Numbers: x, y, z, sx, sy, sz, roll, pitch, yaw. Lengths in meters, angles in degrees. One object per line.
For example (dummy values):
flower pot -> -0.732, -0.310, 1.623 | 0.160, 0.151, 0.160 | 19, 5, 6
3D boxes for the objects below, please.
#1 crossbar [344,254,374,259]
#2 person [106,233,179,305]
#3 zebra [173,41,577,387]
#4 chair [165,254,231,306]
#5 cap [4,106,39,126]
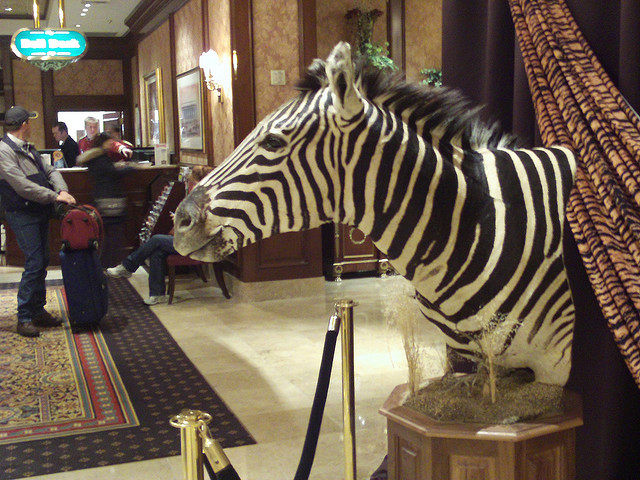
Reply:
crossbar -> 0.510, 0.220, 7.618 | 0.255, 0.042, 0.018 | -2, 7, -17
person -> -1.976, 0.338, 6.640 | 0.696, 0.768, 0.332 | -2, 8, -9
zebra -> 0.369, -0.042, 1.976 | 1.735, 1.112, 0.531 | 0, 1, -29
chair -> -1.536, 0.387, 7.007 | 0.605, 0.671, 0.764 | -6, 13, -18
cap -> -2.842, -1.162, 5.493 | 0.101, 0.177, 0.350 | 1, 8, 19
